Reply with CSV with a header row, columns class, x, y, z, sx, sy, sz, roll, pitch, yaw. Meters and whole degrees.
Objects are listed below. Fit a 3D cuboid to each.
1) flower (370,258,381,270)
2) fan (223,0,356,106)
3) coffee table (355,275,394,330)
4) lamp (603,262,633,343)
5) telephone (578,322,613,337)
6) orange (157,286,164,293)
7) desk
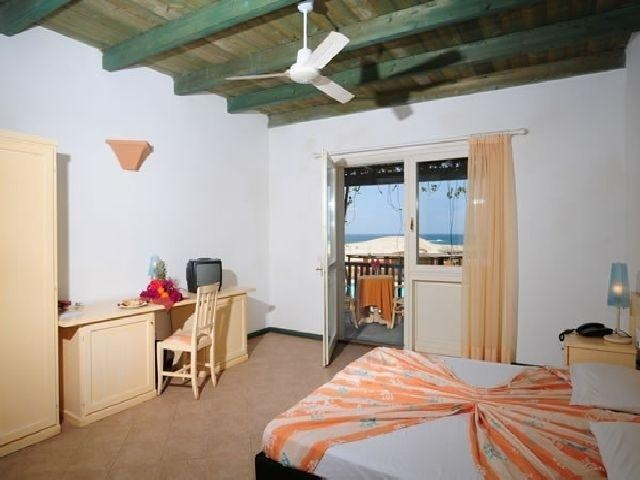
class,x,y,z,sx,sy,sz,roll,pitch,yaw
flower,0.983,0.437,7.896,0.152,0.210,0.355,-1,7,10
fan,-0.075,-1.589,3.684,0.652,0.747,1.024,-2,7,4
coffee table,0.851,0.947,6.993,0.717,0.908,0.718,0,-4,6
lamp,2.797,0.573,4.234,0.195,0.732,0.873,3,9,33
telephone,2.529,0.821,4.186,0.214,0.071,0.153,-8,5,1
orange,-1.589,0.496,4.564,0.049,0.027,0.050,4,2,35
desk,-1.467,0.878,4.993,2.546,1.169,0.820,-11,29,-44
